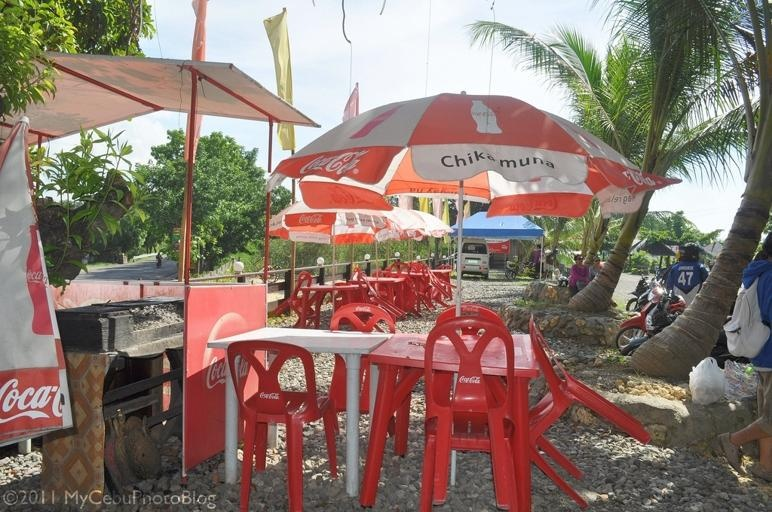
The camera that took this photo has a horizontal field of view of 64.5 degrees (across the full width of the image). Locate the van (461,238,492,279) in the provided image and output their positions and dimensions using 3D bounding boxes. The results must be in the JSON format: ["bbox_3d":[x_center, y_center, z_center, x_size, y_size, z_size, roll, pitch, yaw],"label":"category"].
[{"bbox_3d":[4.923,0.041,32.509,1.751,1.873,3.430,1,5,9],"label":"van"}]

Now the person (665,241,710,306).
[{"bbox_3d":[5.448,0.493,11.067,0.779,1.528,0.481,7,26,32],"label":"person"}]

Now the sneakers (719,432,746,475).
[{"bbox_3d":[4.076,2.317,7.275,0.217,0.543,0.177,-18,1,20],"label":"sneakers"}]
